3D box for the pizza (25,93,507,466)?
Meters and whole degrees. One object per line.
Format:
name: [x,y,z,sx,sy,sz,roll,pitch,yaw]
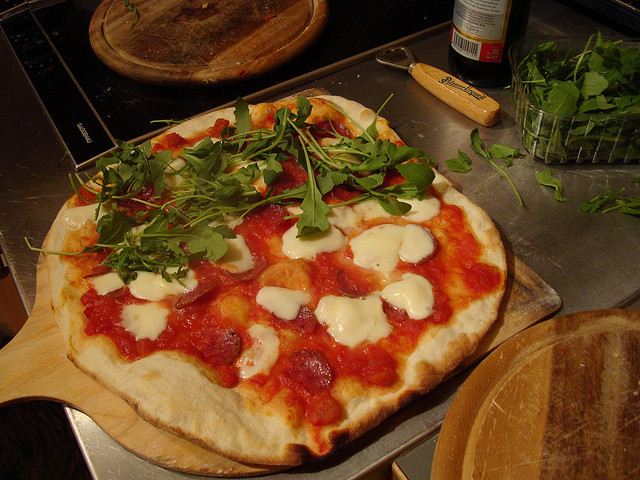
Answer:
pizza: [-0.169,0.164,2.133,1.441,0.787,1.351,-11,42,-16]
